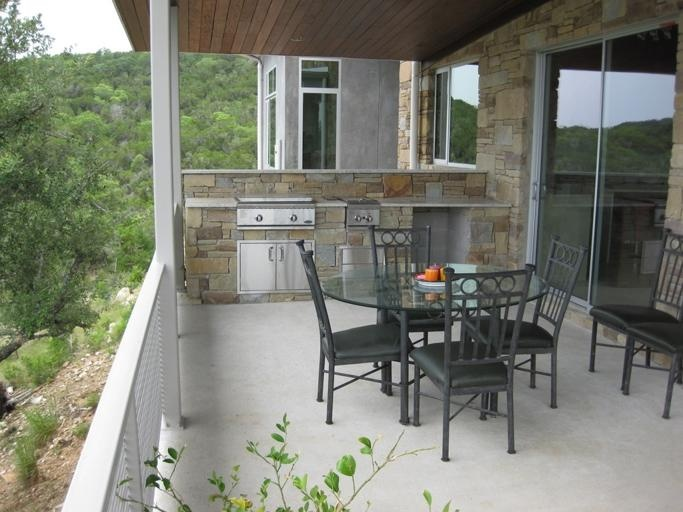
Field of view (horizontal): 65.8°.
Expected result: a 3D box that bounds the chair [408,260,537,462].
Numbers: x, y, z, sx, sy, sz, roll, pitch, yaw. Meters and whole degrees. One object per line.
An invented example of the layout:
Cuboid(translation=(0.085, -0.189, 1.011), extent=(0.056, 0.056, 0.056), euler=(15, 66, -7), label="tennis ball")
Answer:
Cuboid(translation=(0.855, 0.562, 3.518), extent=(0.735, 1.180, 1.137), euler=(2, 10, 19), label="chair")

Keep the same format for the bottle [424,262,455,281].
Cuboid(translation=(0.665, 0.093, 3.770), extent=(0.127, 0.084, 0.176), euler=(-1, 8, 1), label="bottle")

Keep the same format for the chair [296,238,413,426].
Cuboid(translation=(0.092, 0.542, 3.743), extent=(0.790, 1.155, 0.751), euler=(2, 8, 13), label="chair")

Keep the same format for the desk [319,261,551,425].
Cuboid(translation=(0.306, 0.639, 3.936), extent=(1.167, 0.774, 1.203), euler=(0, 12, 1), label="desk")

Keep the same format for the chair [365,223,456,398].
Cuboid(translation=(0.742, 0.393, 4.672), extent=(0.793, 1.347, 0.717), euler=(2, 0, -42), label="chair")
